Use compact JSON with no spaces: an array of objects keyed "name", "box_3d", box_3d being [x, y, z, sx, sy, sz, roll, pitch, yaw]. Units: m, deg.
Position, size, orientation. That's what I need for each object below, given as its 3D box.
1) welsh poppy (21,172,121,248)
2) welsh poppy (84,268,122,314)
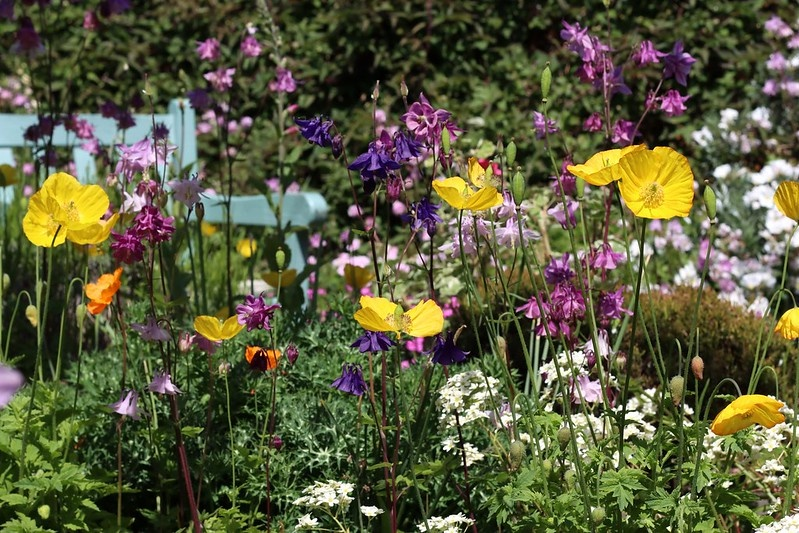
[{"name":"welsh poppy","box_3d":[-1.400,-0.238,4.483,0.317,0.383,0.131,-1,-19,-25]},{"name":"welsh poppy","box_3d":[-1.311,0.108,4.654,0.150,0.225,0.293,1,3,-18]}]
